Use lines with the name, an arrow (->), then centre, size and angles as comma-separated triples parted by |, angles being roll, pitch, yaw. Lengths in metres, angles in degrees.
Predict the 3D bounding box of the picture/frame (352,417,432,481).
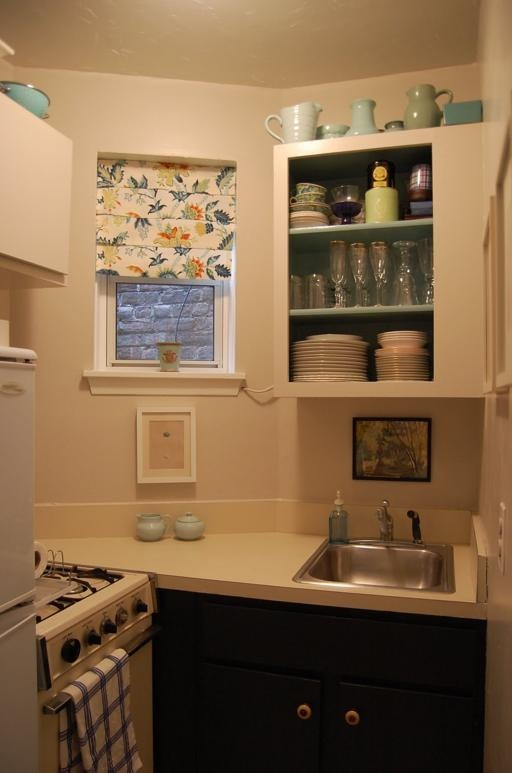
picture/frame -> 0.495, 0.214, 2.084 | 0.210, 0.190, 0.011 | 0, 2, 19

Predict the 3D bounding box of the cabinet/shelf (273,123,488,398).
cabinet/shelf -> 0.396, -0.398, 1.833 | 0.804, 1.064, 0.322 | -1, -4, 22

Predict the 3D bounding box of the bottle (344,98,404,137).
bottle -> 0.393, -0.838, 1.944 | 0.165, 0.171, 0.126 | 1, 2, 22

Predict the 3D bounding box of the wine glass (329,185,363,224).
wine glass -> 0.288, -0.589, 1.955 | 0.107, 0.137, 0.113 | 0, -2, -5

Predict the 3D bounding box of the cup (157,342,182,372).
cup -> -0.321, -0.114, 2.173 | 0.091, 0.109, 0.097 | 0, 2, 0

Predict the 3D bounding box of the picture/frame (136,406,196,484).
picture/frame -> -0.339, 0.215, 2.159 | 0.259, 0.356, 0.027 | 0, -2, -3

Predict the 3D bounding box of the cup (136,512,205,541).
cup -> -0.294, 0.457, 2.024 | 0.211, 0.097, 0.104 | 1, -6, -4

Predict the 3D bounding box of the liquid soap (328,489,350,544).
liquid soap -> 0.287, 0.428, 2.048 | 0.069, 0.159, 0.197 | -2, 3, 7

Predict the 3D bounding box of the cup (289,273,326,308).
cup -> 0.171, -0.311, 1.935 | 0.101, 0.112, 0.112 | 0, -4, 2
